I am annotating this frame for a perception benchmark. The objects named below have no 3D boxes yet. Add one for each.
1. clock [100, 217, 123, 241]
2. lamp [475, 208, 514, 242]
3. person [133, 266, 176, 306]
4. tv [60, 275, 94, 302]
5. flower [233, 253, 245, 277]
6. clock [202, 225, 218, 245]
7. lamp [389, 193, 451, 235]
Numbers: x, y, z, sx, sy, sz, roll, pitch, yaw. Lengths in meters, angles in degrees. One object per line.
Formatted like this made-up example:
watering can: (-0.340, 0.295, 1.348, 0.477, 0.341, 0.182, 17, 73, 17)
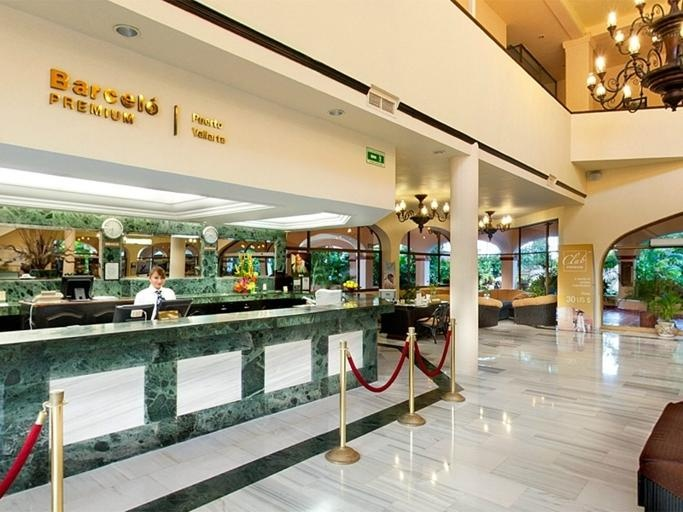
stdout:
clock: (-4.291, -0.515, 8.231, 0.112, 0.384, 0.407, -5, -12, 32)
lamp: (5.411, -1.143, 15.481, 1.345, 0.912, 1.330, 4, 5, 33)
person: (-3.070, 0.500, 7.338, 0.400, 0.606, 0.733, -3, 0, 39)
tv: (-4.492, 0.491, 7.645, 0.746, 0.543, 0.365, -1, 1, -30)
flower: (-2.373, 0.202, 10.338, 0.111, 0.501, 0.326, 3, 4, 26)
clock: (-2.895, -0.474, 9.699, 0.123, 0.391, 0.416, -4, 4, 31)
lamp: (2.230, -1.299, 12.572, 1.674, 1.096, 1.636, -1, -5, 25)
